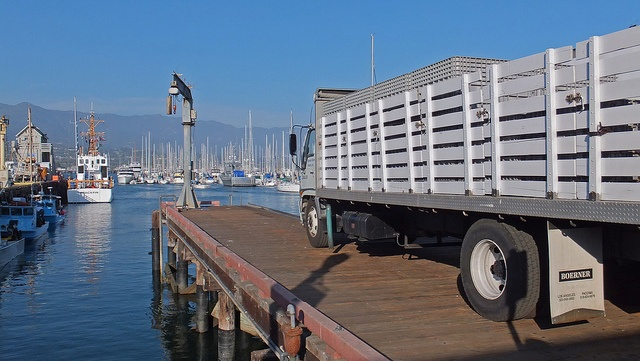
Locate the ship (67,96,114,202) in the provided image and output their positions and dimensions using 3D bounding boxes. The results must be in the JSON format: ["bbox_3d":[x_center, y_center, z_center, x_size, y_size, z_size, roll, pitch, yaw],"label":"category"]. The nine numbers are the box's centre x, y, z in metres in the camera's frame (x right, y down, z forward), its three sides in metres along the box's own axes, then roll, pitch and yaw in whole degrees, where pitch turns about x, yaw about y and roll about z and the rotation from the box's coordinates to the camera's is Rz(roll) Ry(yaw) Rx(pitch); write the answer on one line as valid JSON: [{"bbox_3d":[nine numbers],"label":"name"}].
[{"bbox_3d":[-41.595,-4.812,100.184,6.183,14.802,34.619,0,4,-22],"label":"ship"}]
